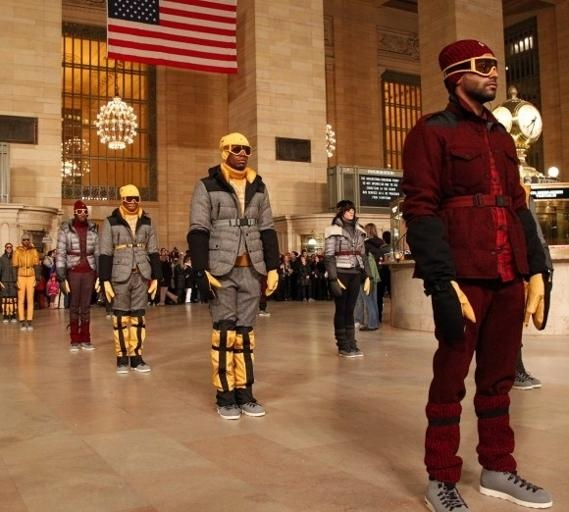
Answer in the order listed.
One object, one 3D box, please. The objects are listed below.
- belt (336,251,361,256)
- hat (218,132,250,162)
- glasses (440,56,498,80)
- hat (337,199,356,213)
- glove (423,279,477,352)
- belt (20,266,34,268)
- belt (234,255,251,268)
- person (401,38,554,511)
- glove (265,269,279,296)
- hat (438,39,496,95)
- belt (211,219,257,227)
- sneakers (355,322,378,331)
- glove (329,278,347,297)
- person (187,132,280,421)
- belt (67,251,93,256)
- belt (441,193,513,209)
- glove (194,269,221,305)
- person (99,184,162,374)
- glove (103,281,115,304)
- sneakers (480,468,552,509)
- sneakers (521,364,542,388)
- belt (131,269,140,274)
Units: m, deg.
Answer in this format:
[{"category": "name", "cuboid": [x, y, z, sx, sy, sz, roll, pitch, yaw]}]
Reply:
[{"category": "belt", "cuboid": [0.867, -0.043, 7.796, 0.338, 0.069, 0.086, -3, 3, -25]}, {"category": "hat", "cuboid": [-0.439, -0.993, 5.046, 0.261, 0.247, 0.324, 0, -4, -41]}, {"category": "glasses", "cuboid": [0.937, -0.951, 2.918, 0.185, 0.054, 0.155, -4, 9, 38]}, {"category": "hat", "cuboid": [0.858, -0.688, 7.942, 0.201, 0.215, 0.259, 1, 13, 4]}, {"category": "glove", "cuboid": [0.720, 0.266, 2.618, 0.114, 0.271, 0.249, -18, -2, -40]}, {"category": "belt", "cuboid": [-5.641, 0.222, 12.610, 0.196, 0.081, 0.081, -4, 3, -41]}, {"category": "belt", "cuboid": [-0.347, 0.038, 4.754, 0.095, 0.089, 0.116, -1, 1, 10]}, {"category": "person", "cuboid": [0.959, 0.055, 2.849, 0.761, 2.336, 0.562, -2, 3, -3]}, {"category": "glove", "cuboid": [-0.107, 0.231, 4.929, 0.146, 0.187, 0.080, 6, 3, -25]}, {"category": "hat", "cuboid": [0.913, -0.969, 3.004, 0.318, 0.274, 0.257, 2, 9, 40]}, {"category": "belt", "cuboid": [-0.420, -0.284, 4.844, 0.343, 0.071, 0.104, -3, 3, -21]}, {"category": "sneakers", "cuboid": [1.517, 1.326, 10.871, 0.147, 0.172, 0.425, 4, -9, -38]}, {"category": "glove", "cuboid": [0.708, 0.410, 7.683, 0.123, 0.247, 0.284, 0, 3, 29]}, {"category": "person", "cuboid": [-0.395, 0.128, 4.802, 0.812, 2.330, 0.542, -3, 3, -25]}, {"category": "belt", "cuboid": [-3.131, -0.031, 8.875, 0.389, 0.082, 0.124, -2, 3, -20]}, {"category": "belt", "cuboid": [0.967, -0.273, 2.843, 0.335, 0.070, 0.102, -2, 3, -11]}, {"category": "glove", "cuboid": [-0.618, 0.249, 4.623, 0.196, 0.237, 0.103, -7, 3, 13]}, {"category": "person", "cuboid": [-1.889, 0.240, 7.157, 0.773, 2.283, 0.801, -3, 3, -32]}, {"category": "glove", "cuboid": [-2.137, 0.434, 7.022, 0.089, 0.216, 0.253, -16, 28, 4]}, {"category": "sneakers", "cuboid": [1.116, 1.120, 2.825, 0.329, 0.133, 0.120, -3, -2, 37]}, {"category": "sneakers", "cuboid": [2.382, 1.180, 5.599, 0.104, 0.121, 0.294, -5, 0, -12]}, {"category": "belt", "cuboid": [-1.867, 0.181, 7.229, 0.104, 0.073, 0.055, 0, -6, -17]}]
